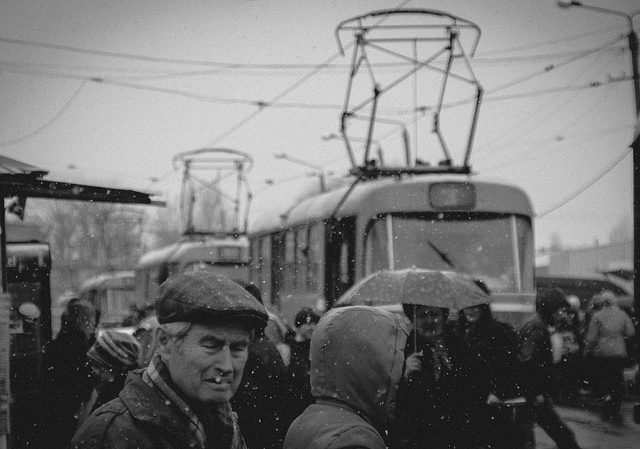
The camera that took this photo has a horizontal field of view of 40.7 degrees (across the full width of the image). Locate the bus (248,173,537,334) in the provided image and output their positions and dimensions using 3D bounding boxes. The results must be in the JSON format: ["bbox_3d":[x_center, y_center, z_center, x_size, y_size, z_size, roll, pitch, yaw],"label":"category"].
[{"bbox_3d":[0.500,0.979,17.432,2.978,3.668,9.454,0,-3,-20],"label":"bus"}]

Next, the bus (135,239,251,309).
[{"bbox_3d":[-3.169,1.500,21.249,1.581,2.145,5.041,-2,-2,-29],"label":"bus"}]

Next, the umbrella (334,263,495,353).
[{"bbox_3d":[1.358,1.082,11.648,1.198,0.844,1.244,3,-7,-17],"label":"umbrella"}]
